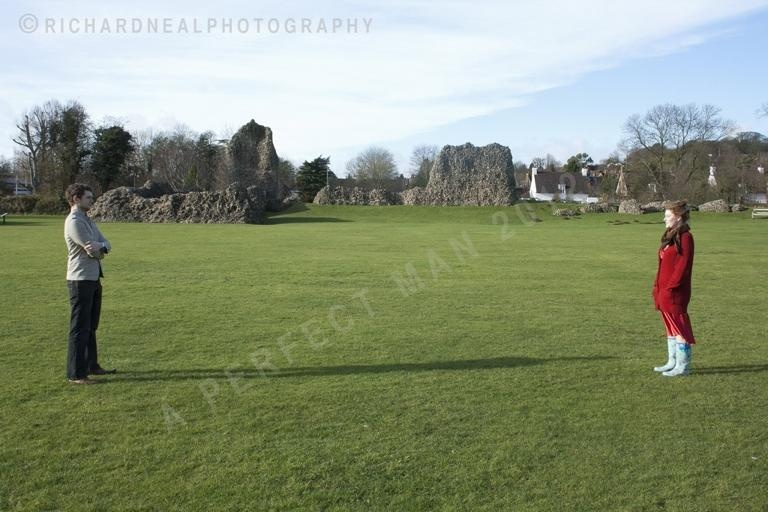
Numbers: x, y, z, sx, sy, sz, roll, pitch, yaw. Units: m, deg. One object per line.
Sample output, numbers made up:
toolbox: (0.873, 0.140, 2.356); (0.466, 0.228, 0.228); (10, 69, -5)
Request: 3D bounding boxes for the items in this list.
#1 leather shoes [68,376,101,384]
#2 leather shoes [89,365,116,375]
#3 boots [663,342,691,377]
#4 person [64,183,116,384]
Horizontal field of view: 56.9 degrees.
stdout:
leather shoes: (-4.636, 1.943, 11.029); (0.437, 0.185, 0.157); (-2, 2, -8)
leather shoes: (-4.497, 1.845, 11.356); (0.438, 0.190, 0.146); (-1, 2, -10)
boots: (4.655, 1.636, 11.292); (0.457, 0.518, 0.316); (1, 8, 8)
person: (-4.715, 0.397, 11.225); (0.731, 3.015, 1.044); (-3, 9, -19)
